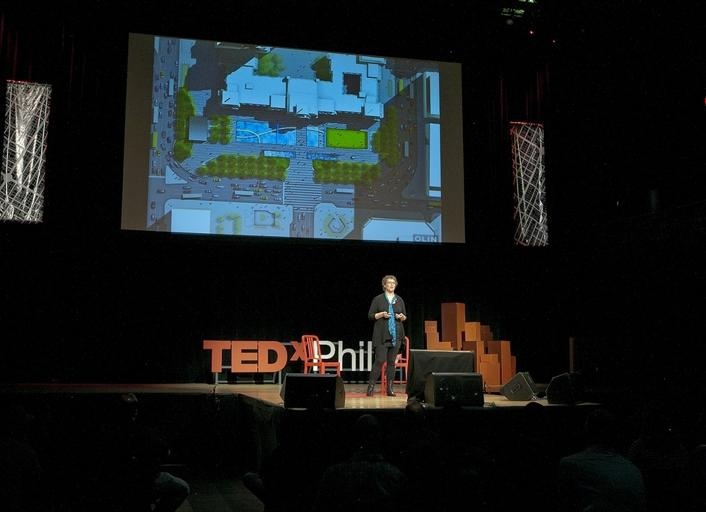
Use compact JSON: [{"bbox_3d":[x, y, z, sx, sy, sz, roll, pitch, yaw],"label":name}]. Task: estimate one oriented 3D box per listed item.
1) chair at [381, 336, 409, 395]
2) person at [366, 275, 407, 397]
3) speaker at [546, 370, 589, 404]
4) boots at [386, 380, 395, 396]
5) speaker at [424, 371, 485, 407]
[{"bbox_3d":[0.608,1.490,11.067,0.516,0.799,0.506,6,-8,-27],"label":"chair"},{"bbox_3d":[0.403,1.077,9.916,0.448,1.558,0.785,5,13,1],"label":"person"},{"bbox_3d":[2.363,1.477,8.885,0.335,0.357,0.351,1,-11,18],"label":"speaker"},{"bbox_3d":[0.472,1.664,9.884,0.085,0.216,0.203,6,-24,-8],"label":"boots"},{"bbox_3d":[1.083,1.395,8.297,0.461,0.340,0.372,2,-5,-5],"label":"speaker"}]
